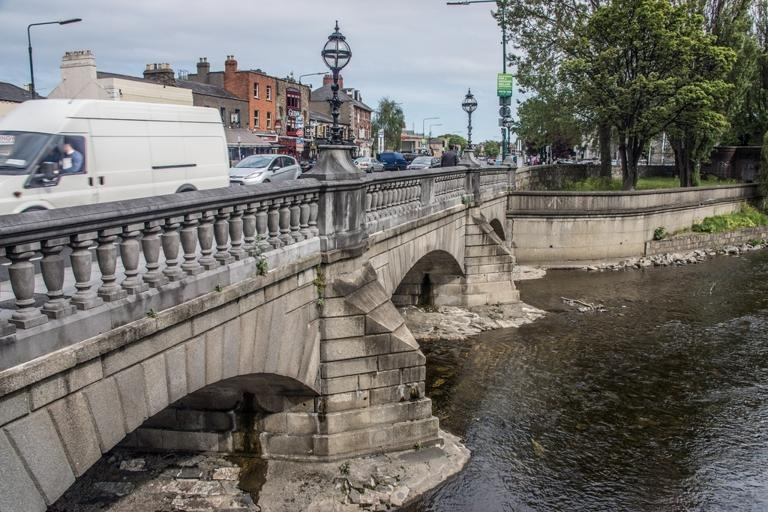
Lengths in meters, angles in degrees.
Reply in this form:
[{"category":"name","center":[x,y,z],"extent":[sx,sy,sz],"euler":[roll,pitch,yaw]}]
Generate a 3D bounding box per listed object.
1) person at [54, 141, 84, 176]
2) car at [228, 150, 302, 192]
[{"category":"person","center":[-6.540,-2.046,14.261],"extent":[0.563,1.008,0.654],"euler":[-5,8,-39]},{"category":"car","center":[-4.285,-3.126,24.123],"extent":[1.728,0.856,3.382],"euler":[3,13,20]}]
